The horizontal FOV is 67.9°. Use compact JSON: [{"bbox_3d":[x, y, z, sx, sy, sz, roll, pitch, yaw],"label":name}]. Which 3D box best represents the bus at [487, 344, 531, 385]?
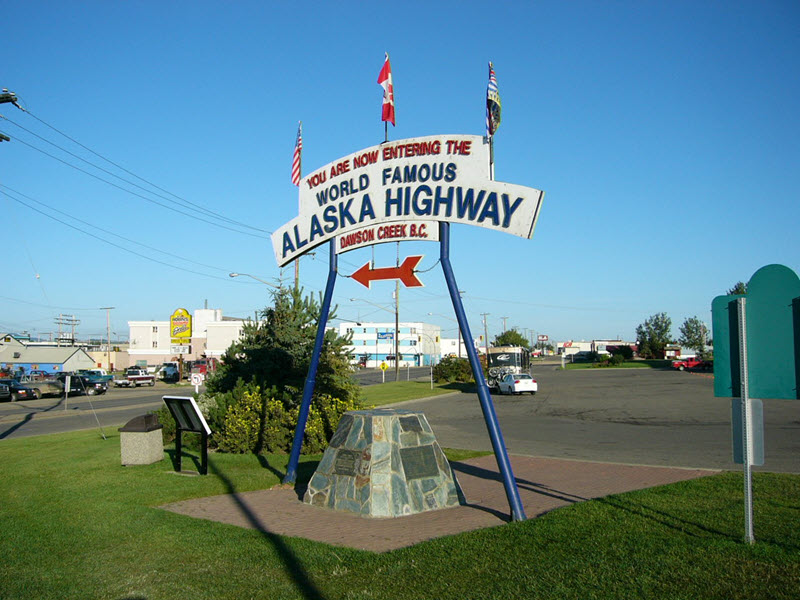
[{"bbox_3d":[9.420,5.464,52.113,2.408,2.526,3.944,0,1,16],"label":"bus"}]

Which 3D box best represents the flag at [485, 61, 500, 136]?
[{"bbox_3d":[1.707,-3.771,11.043,0.244,1.382,0.535,-3,-5,7],"label":"flag"}]

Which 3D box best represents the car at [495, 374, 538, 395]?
[{"bbox_3d":[8.414,6.045,42.745,1.443,1.470,3.408,-1,-6,-16],"label":"car"}]
